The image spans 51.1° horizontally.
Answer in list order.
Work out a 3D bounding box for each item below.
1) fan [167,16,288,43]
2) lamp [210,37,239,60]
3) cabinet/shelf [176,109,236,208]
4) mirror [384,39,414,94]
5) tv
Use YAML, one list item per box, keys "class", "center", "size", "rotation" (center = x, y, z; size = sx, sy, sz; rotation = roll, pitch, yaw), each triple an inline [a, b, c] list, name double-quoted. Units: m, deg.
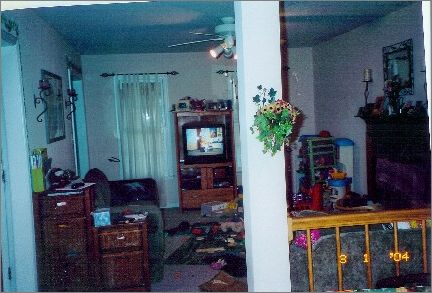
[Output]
- class: "fan"
  center: [0.080, -1.650, 6.476]
  size: [1.187, 0.318, 1.058]
  rotation: [0, 13, -3]
- class: "lamp"
  center: [0.134, -1.418, 6.451]
  size: [0.357, 0.300, 0.363]
  rotation: [-5, 1, 16]
- class: "cabinet/shelf"
  center: [-0.180, 0.215, 8.213]
  size: [1.116, 1.777, 0.419]
  rotation: [-5, 1, -3]
- class: "mirror"
  center: [2.684, -1.132, 6.564]
  size: [0.105, 0.720, 0.522]
  rotation: [-6, 1, -29]
- class: "tv"
  center: [-0.109, -0.043, 8.370]
  size: [0.948, 0.726, 0.334]
  rotation: [-3, -2, 31]
